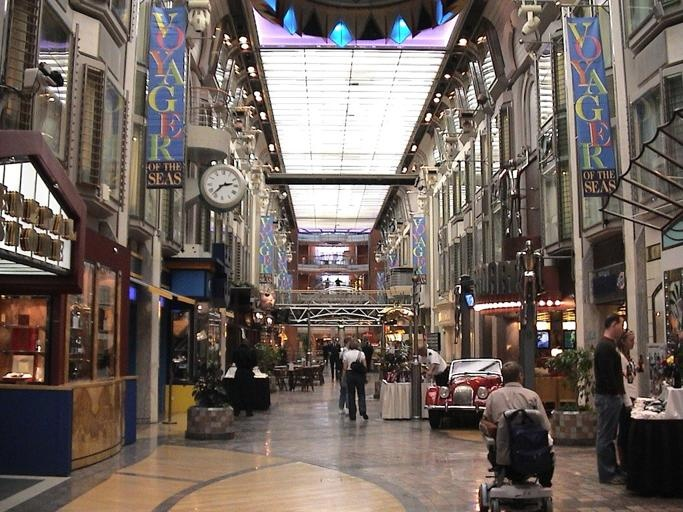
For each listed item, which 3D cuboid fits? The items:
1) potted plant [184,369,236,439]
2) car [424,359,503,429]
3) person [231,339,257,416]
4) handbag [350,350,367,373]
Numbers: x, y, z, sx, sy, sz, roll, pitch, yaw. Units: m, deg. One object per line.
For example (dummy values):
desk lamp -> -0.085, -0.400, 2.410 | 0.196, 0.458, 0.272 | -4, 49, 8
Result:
potted plant -> -3.187, 3.266, 15.290 | 1.058, 1.789, 1.167 | 4, -12, 24
car -> 2.908, 3.298, 15.787 | 1.510, 1.436, 2.970 | -2, -12, 7
person -> -2.926, 3.684, 20.068 | 0.621, 2.140, 0.873 | 2, -11, -10
handbag -> 0.456, 2.871, 18.088 | 0.455, 0.635, 0.367 | 3, -12, -15
